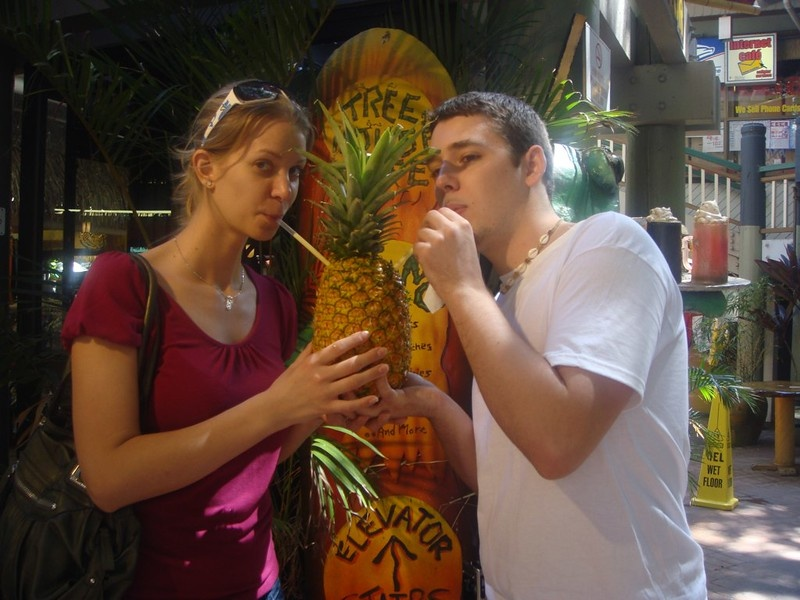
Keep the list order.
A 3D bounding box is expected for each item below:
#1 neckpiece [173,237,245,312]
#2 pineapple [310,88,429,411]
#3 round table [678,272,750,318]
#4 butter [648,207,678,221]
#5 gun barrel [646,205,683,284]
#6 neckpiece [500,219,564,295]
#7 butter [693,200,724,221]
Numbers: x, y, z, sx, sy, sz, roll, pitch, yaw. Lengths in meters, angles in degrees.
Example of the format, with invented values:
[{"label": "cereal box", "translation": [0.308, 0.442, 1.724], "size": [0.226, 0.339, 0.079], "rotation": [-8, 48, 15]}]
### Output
[{"label": "neckpiece", "translation": [-0.653, -0.075, 2.299], "size": [0.015, 0.305, 0.204], "rotation": [-27, -11, 39]}, {"label": "pineapple", "translation": [-0.128, -0.151, 2.047], "size": [0.392, 0.898, 0.270], "rotation": [3, -5, -34]}, {"label": "round table", "translation": [1.942, -0.027, 3.921], "size": [0.467, 0.200, 0.491], "rotation": [0, 0, 0]}, {"label": "butter", "translation": [1.572, -0.525, 3.789], "size": [0.114, 0.044, 0.115], "rotation": [-10, 12, -37]}, {"label": "gun barrel", "translation": [1.572, -0.337, 3.789], "size": [0.206, 0.425, 0.215], "rotation": [7, -20, 2]}, {"label": "neckpiece", "translation": [0.433, -0.152, 2.063], "size": [0.038, 0.263, 0.030], "rotation": [26, -6, 46]}, {"label": "butter", "translation": [1.954, -0.579, 4.021], "size": [0.144, 0.114, 0.211], "rotation": [2, 5, 18]}]
